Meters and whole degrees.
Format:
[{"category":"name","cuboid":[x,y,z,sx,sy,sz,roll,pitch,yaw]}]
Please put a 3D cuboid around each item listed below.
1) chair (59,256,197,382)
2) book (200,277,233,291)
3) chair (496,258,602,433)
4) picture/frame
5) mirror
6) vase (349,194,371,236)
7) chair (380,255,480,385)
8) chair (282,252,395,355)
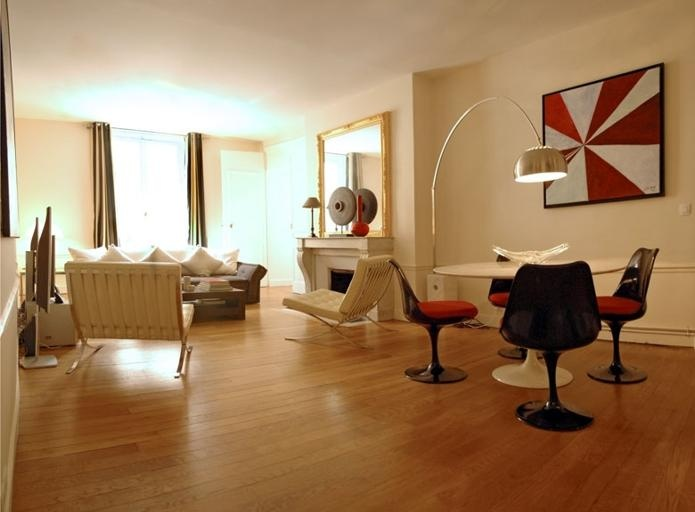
[{"category":"chair","cuboid":[-1.915,0.491,4.627,1.070,0.905,0.869,1,4,-5]},{"category":"book","cuboid":[-1.738,0.364,6.522,0.331,0.128,0.399,-7,11,-33]},{"category":"chair","cuboid":[1.319,0.555,3.270,0.600,1.073,0.346,2,10,19]},{"category":"picture/frame","cuboid":[2.579,-1.168,5.056,1.154,1.350,0.155,6,12,40]},{"category":"mirror","cuboid":[0.047,-1.185,7.109,0.099,1.333,1.391,-7,9,-42]},{"category":"vase","cuboid":[0.173,-0.533,6.710,0.367,0.534,0.361,-5,7,-40]},{"category":"chair","cuboid":[0.728,0.515,4.211,0.740,0.952,0.690,-1,1,-4]},{"category":"chair","cuboid":[-0.065,0.408,5.232,1.040,0.809,0.816,-1,4,32]}]
